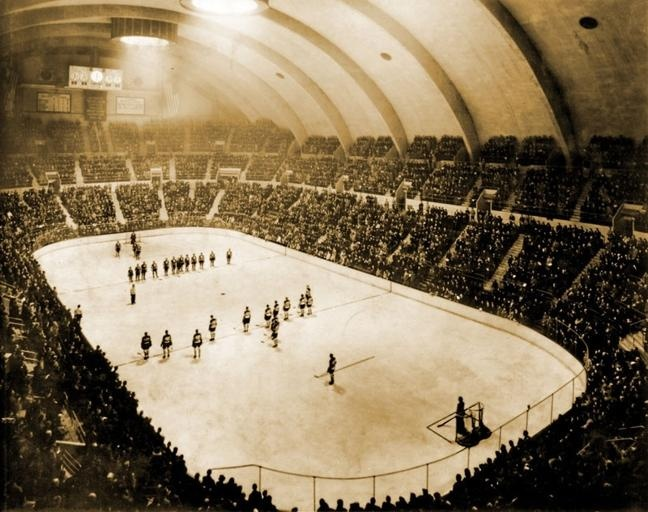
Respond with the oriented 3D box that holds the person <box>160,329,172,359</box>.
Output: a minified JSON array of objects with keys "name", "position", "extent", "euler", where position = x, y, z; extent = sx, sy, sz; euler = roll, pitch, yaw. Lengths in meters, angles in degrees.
[{"name":"person","position":[-8.575,4.630,33.133],"extent":[0.572,1.732,1.337],"euler":[-7,28,-13]}]

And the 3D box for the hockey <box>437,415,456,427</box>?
[{"name":"hockey","position":[5.718,7.698,28.377],"extent":[1.231,0.222,0.232],"euler":[-24,22,-36]}]

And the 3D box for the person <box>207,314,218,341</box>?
[{"name":"person","position":[-6.413,4.067,35.110],"extent":[0.431,1.678,1.221],"euler":[-6,27,-10]}]
